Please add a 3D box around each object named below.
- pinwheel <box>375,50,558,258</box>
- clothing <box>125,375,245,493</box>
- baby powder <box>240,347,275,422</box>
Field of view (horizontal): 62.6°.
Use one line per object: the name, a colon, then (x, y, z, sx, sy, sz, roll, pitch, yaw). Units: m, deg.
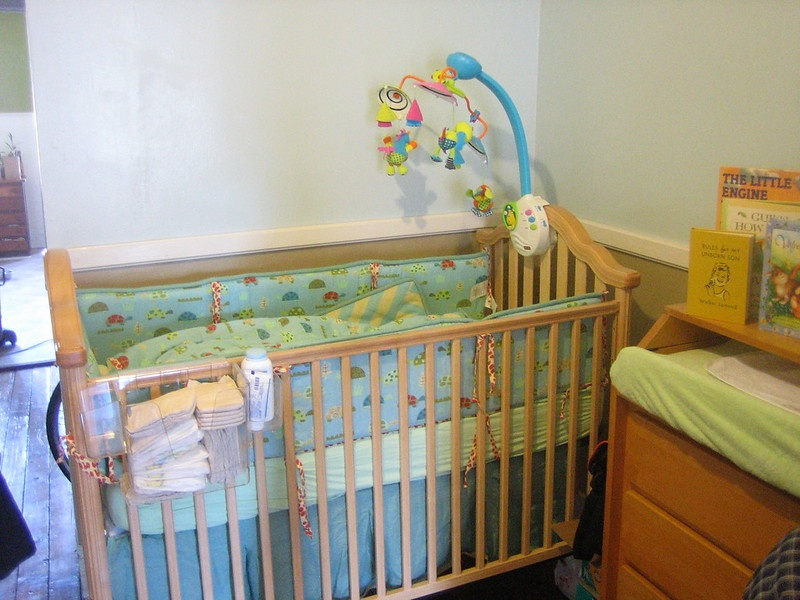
pinwheel: (0.273, -0.544, 2.569, 0.658, 0.845, 0.472, -2, 25, 5)
clothing: (-0.541, 0.386, 1.701, 0.300, 0.331, 0.150, -10, 17, -18)
baby powder: (-0.365, 0.227, 1.679, 0.072, 0.200, 0.075, -3, 19, -22)
